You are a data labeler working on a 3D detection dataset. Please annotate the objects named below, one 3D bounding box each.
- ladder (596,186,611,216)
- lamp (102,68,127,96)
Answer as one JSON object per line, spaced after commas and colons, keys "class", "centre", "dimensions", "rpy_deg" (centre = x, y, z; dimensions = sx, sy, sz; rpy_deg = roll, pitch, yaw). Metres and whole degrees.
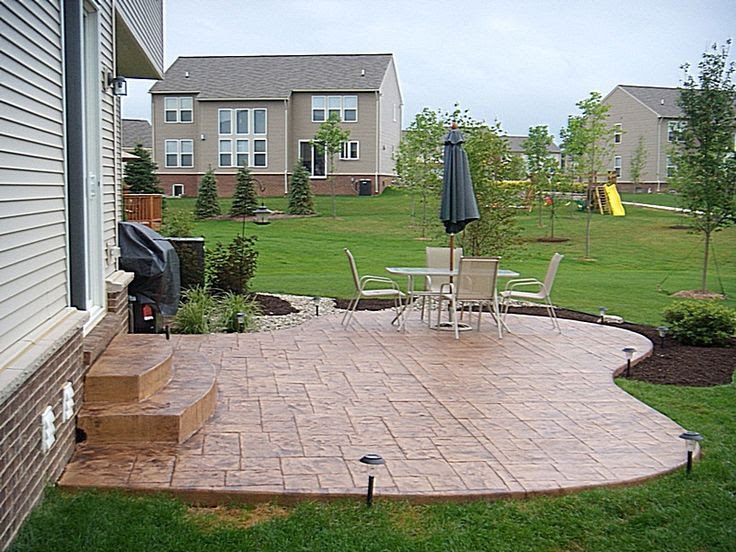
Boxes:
{"class": "ladder", "centre": [14.415, -4.599, 34.441], "dimensions": [0.640, 1.943, 1.132], "rpy_deg": [6, -1, 16]}
{"class": "lamp", "centre": [-3.160, -2.497, 7.296], "dimensions": [0.465, 0.286, 0.255], "rpy_deg": [0, 5, -10]}
